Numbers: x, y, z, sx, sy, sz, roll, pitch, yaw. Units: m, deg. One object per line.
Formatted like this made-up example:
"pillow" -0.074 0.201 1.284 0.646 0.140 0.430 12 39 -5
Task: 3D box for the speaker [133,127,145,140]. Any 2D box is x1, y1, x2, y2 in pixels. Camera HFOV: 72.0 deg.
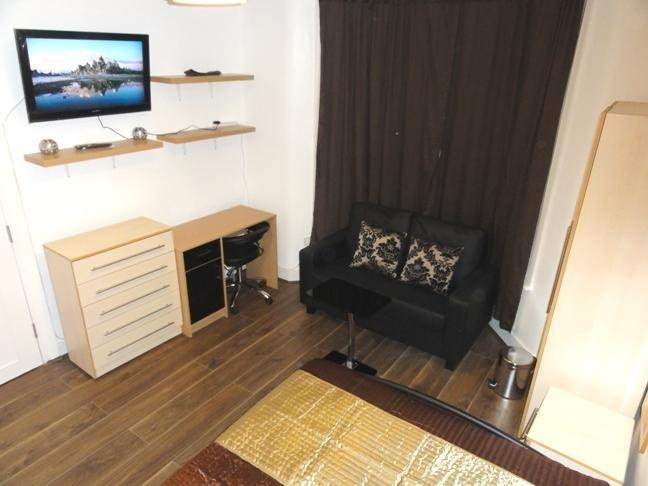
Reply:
"speaker" -1.658 -0.977 4.002 0.112 0.105 0.101 11 -2 -19

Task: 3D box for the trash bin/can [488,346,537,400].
"trash bin/can" 1.564 1.029 3.839 0.259 0.401 0.446 27 37 32

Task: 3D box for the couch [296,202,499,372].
"couch" 0.743 0.450 4.151 1.260 0.795 0.691 16 31 31

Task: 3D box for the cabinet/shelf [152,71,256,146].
"cabinet/shelf" -1.197 -1.342 4.523 0.411 0.695 1.125 19 32 33

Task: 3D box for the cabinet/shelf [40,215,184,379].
"cabinet/shelf" -1.874 0.485 4.068 0.954 1.162 0.664 -19 28 -41

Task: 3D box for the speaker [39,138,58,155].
"speaker" -2.201 -0.767 3.552 0.159 0.108 0.118 21 33 35

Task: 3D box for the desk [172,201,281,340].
"desk" -1.027 0.302 4.562 0.562 0.856 1.087 16 30 28

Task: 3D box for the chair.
"chair" -0.815 0.260 4.776 0.550 0.689 0.558 26 43 26
